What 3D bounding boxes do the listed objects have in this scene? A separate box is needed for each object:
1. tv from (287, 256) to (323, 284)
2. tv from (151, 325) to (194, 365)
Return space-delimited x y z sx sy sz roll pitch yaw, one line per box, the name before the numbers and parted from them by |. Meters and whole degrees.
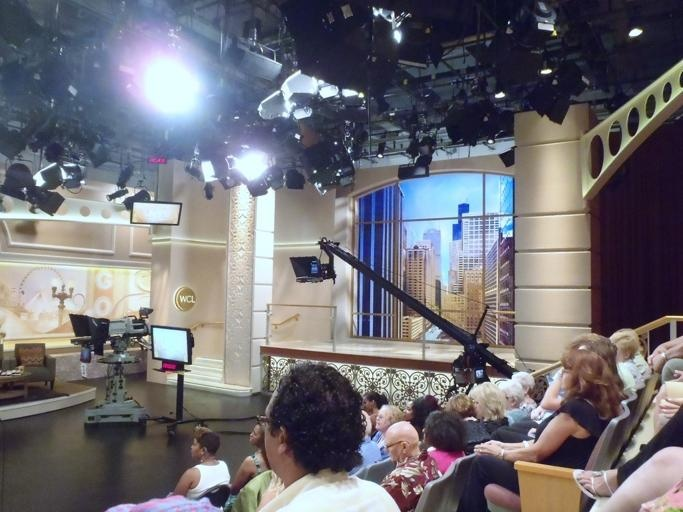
tv | -0.539 0.227 8.410 0.413 0.354 0.371 -4 -6 2
tv | -2.664 1.397 8.321 0.985 0.765 0.165 1 3 30
